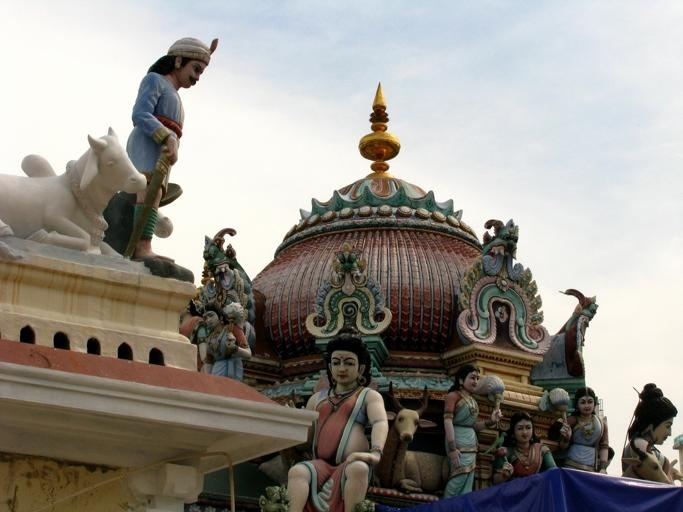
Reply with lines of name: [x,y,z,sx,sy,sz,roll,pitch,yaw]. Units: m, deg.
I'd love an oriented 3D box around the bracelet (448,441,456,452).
bracelet: [1.495,2.587,22.277,0.115,0.137,0.118,1,-15,1]

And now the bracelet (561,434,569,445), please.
bracelet: [3.188,2.626,23.437,0.114,0.112,0.117,-2,-32,17]

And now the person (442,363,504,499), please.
person: [1.729,2.428,22.588,0.656,1.844,1.004,-12,-29,30]

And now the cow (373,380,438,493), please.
cow: [0.822,2.407,21.824,0.822,1.486,1.374,10,-6,9]

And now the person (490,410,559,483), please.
person: [2.563,2.865,22.730,0.915,1.357,0.716,-3,-7,-16]

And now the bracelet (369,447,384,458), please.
bracelet: [0.362,2.208,18.504,0.130,0.053,0.141,28,-25,-25]

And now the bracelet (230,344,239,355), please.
bracelet: [-1.429,1.253,21.997,0.125,0.143,0.055,0,1,-2]

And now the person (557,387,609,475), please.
person: [3.522,2.543,23.425,0.705,1.267,0.769,12,-26,-17]

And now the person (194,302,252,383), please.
person: [-1.610,1.440,22.269,0.754,1.569,0.514,1,-9,20]
